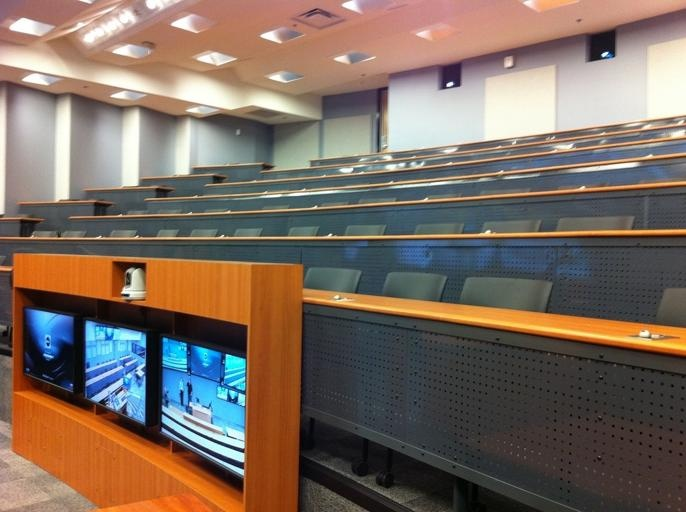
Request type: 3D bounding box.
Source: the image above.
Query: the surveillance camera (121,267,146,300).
[{"bbox_3d":[-1.087,0.146,2.615,0.175,0.141,0.149,-1,6,-10],"label":"surveillance camera"}]

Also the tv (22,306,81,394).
[{"bbox_3d":[-1.795,0.571,3.047,0.765,0.406,0.100,1,3,33],"label":"tv"}]
